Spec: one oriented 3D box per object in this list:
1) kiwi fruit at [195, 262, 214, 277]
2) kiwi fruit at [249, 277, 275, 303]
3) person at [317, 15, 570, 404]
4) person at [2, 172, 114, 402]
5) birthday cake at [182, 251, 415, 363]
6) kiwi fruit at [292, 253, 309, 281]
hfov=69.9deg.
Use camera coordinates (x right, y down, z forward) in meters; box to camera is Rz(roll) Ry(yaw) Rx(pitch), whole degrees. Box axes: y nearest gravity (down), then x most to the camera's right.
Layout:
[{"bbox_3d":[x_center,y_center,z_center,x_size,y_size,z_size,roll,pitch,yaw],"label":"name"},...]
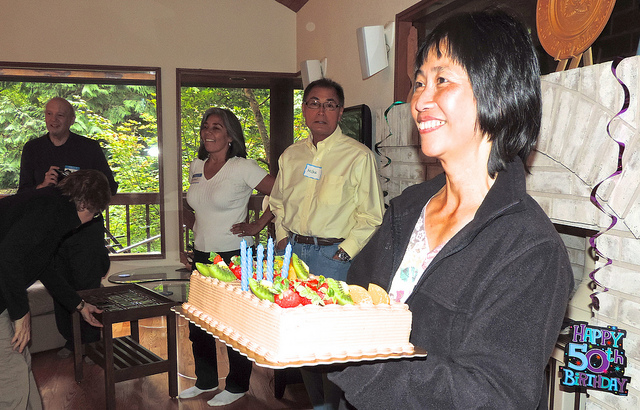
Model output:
[{"bbox_3d":[-0.439,0.242,1.741,0.061,0.020,0.053,25,10,-12],"label":"kiwi fruit"},{"bbox_3d":[-0.190,0.280,1.517,0.062,0.021,0.085,11,22,-8],"label":"kiwi fruit"},{"bbox_3d":[0.432,0.007,1.436,0.653,1.181,0.509,6,11,21],"label":"person"},{"bbox_3d":[-1.764,0.666,3.126,0.628,1.813,0.902,-3,11,-24],"label":"person"},{"bbox_3d":[-0.105,0.312,1.555,0.848,0.248,0.370,11,14,40],"label":"birthday cake"},{"bbox_3d":[-0.078,0.221,1.632,0.024,0.082,0.065,-33,-28,30],"label":"kiwi fruit"}]
